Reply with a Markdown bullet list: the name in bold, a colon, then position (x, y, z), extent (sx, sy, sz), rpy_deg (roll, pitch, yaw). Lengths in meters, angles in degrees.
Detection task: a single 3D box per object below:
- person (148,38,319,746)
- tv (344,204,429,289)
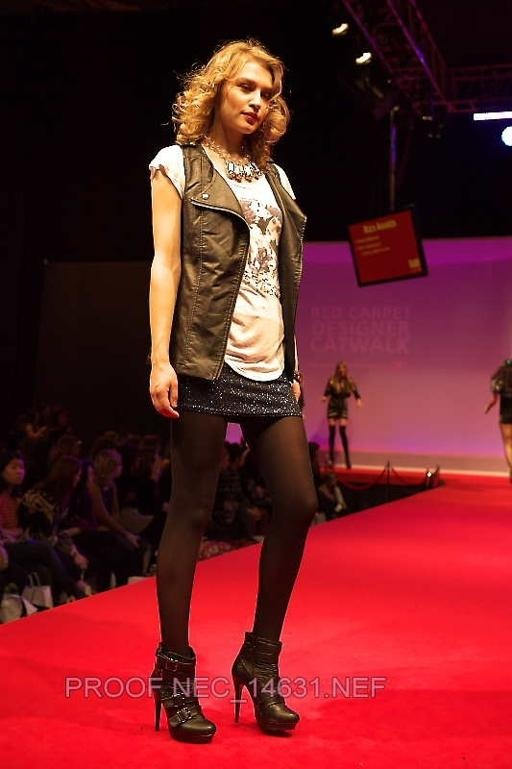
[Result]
- **person**: position (-0.055, -0.054, 1.292), extent (0.349, 1.243, 0.355), rpy_deg (4, -1, -8)
- **tv**: position (0.641, -0.663, 3.145), extent (0.038, 0.329, 0.393), rpy_deg (-16, 10, -39)
